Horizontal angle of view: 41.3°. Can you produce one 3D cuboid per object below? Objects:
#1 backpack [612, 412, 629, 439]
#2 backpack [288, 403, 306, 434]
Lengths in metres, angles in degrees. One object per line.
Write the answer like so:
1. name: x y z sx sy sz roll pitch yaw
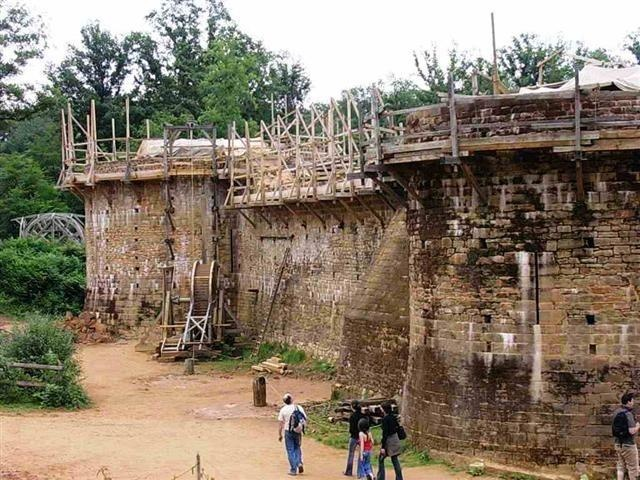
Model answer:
1. backpack: 6.069 3.791 17.125 0.170 0.561 0.329 6 -8 -44
2. backpack: -0.482 3.940 18.397 0.270 0.610 0.404 -3 -7 29
